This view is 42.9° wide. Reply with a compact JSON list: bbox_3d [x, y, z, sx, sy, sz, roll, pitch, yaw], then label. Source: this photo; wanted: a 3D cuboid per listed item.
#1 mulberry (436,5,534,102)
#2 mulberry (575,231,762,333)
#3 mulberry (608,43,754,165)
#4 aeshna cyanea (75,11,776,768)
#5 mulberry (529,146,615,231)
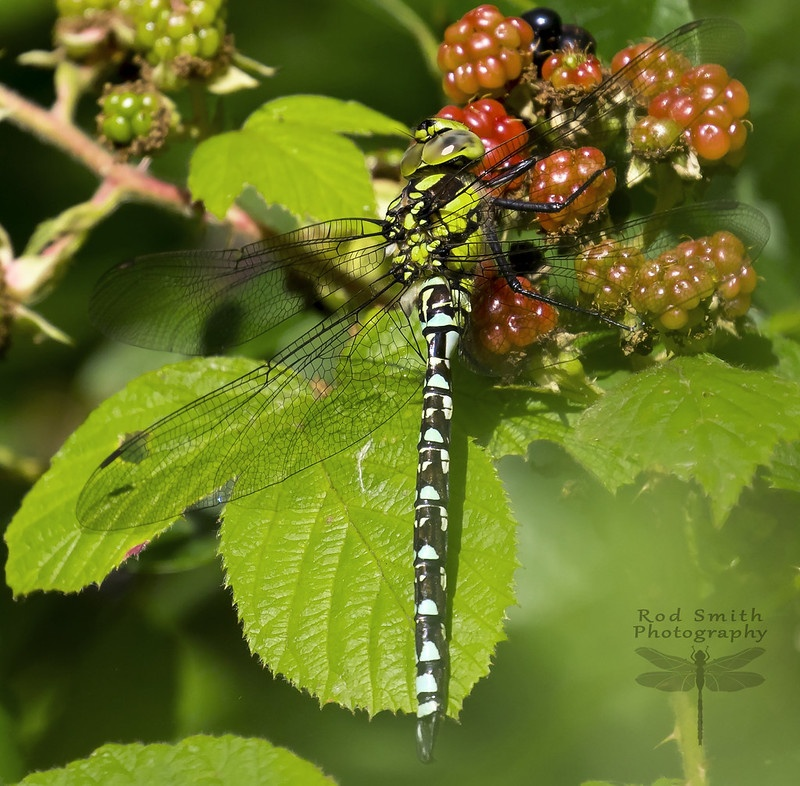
[{"bbox_3d":[0.142,-0.553,1.673,0.156,0.106,0.129,-16,59,-5],"label":"mulberry"},{"bbox_3d":[0.410,-0.161,1.583,0.269,0.116,0.129,-5,58,1],"label":"mulberry"},{"bbox_3d":[0.440,-0.438,1.569,0.191,0.095,0.152,14,61,12],"label":"mulberry"},{"bbox_3d":[0.072,-0.147,1.651,1.141,0.330,1.208,-4,81,18],"label":"aeshna cyanea"},{"bbox_3d":[0.262,-0.325,1.599,0.125,0.088,0.120,-32,61,-14],"label":"mulberry"}]
